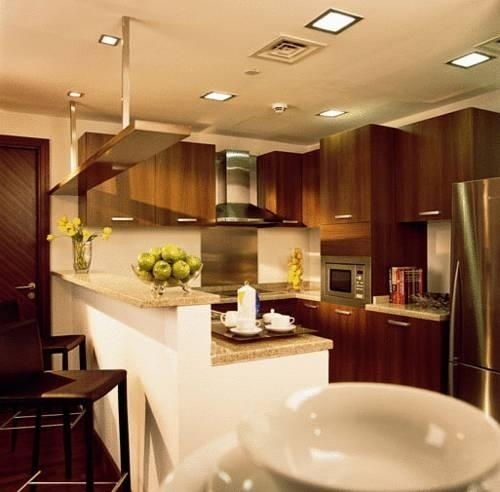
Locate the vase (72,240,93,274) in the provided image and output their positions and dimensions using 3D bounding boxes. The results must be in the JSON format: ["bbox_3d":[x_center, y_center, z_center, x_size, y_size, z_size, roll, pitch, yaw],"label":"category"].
[{"bbox_3d":[-1.303,0.093,3.561,0.142,0.293,0.200,-5,-13,-21],"label":"vase"}]

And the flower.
[{"bbox_3d":[-1.376,0.011,3.625,0.531,0.419,0.487,-2,-7,8],"label":"flower"}]

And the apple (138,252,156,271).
[{"bbox_3d":[-0.417,0.063,1.819,0.072,0.066,0.069,6,1,-20],"label":"apple"}]

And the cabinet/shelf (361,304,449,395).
[{"bbox_3d":[1.195,0.786,3.427,0.363,0.513,0.579,14,-11,-40],"label":"cabinet/shelf"}]

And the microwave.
[{"bbox_3d":[0.911,0.296,3.926,0.318,0.396,0.590,1,-1,-31],"label":"microwave"}]

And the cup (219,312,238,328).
[{"bbox_3d":[-0.100,0.366,2.230,0.082,0.079,0.148,-8,-12,-3],"label":"cup"}]

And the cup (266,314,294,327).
[{"bbox_3d":[0.139,0.346,2.119,0.109,0.044,0.081,2,-2,-21],"label":"cup"}]

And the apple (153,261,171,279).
[{"bbox_3d":[-0.338,0.096,1.766,0.074,0.080,0.049,-6,-13,-16],"label":"apple"}]

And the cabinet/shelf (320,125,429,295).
[{"bbox_3d":[0.999,-0.171,3.986,0.559,1.376,0.660,-2,0,-34],"label":"cabinet/shelf"}]

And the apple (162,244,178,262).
[{"bbox_3d":[-0.315,0.031,1.841,0.066,0.063,0.034,-34,-23,15],"label":"apple"}]

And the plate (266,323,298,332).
[{"bbox_3d":[0.142,0.388,2.154,0.146,0.051,0.159,-9,-12,3],"label":"plate"}]

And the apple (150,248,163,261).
[{"bbox_3d":[-0.389,0.035,1.848,0.053,0.045,0.050,4,10,20],"label":"apple"}]

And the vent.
[{"bbox_3d":[-0.193,-0.652,4.862,0.817,0.669,0.709,-1,8,-18],"label":"vent"}]

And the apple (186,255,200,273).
[{"bbox_3d":[-0.237,0.074,1.883,0.066,0.074,0.064,-4,-14,-21],"label":"apple"}]

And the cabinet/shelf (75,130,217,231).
[{"bbox_3d":[-0.950,-0.536,4.146,1.228,0.686,0.414,-5,12,-37],"label":"cabinet/shelf"}]
